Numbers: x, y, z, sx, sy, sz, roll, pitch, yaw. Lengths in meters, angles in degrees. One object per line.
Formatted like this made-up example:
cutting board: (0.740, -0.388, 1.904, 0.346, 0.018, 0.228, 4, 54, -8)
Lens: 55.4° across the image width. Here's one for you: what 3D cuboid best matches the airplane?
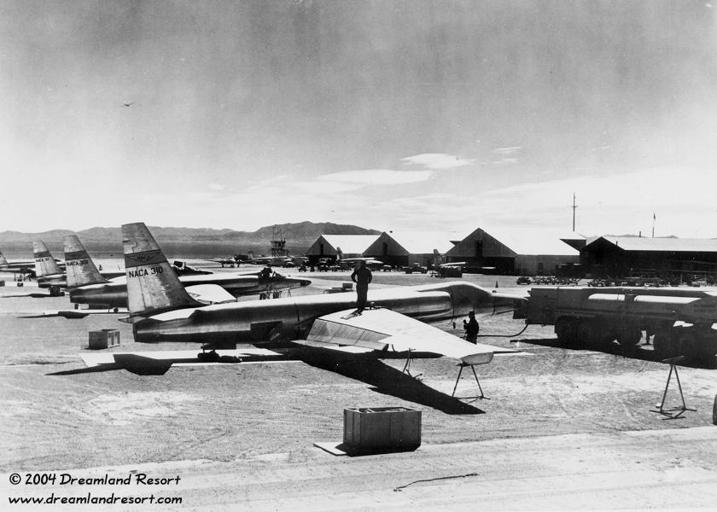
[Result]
airplane: (-3.015, 1.636, 33.543, 20.904, 6.727, 14.097, 3, 9, 17)
